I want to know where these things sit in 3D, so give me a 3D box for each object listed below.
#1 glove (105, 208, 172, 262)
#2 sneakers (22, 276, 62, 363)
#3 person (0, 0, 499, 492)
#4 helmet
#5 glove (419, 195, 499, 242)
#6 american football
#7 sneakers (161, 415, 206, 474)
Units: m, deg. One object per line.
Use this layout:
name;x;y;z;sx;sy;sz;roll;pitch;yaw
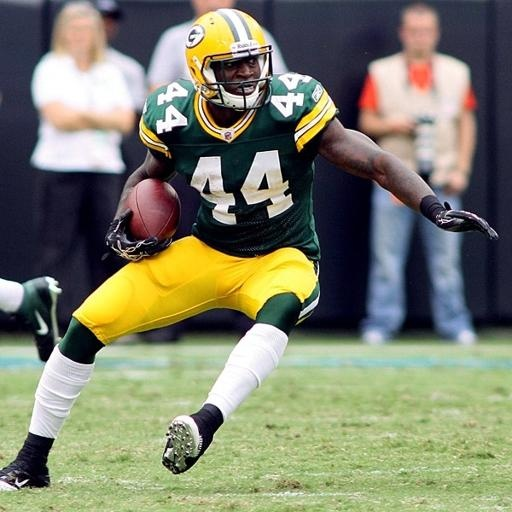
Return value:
glove;-0.408;-0.067;2.930;0.256;0.166;0.081;-19;-31;1
sneakers;-0.938;0.282;3.667;0.208;0.379;0.155;-2;-11;-42
person;-0.114;-0.045;2.759;1.444;1.615;0.746;0;3;9
helmet;-0.077;-0.693;2.827;0.322;0.279;0.383;-12;36;-20
glove;0.597;-0.108;2.489;0.256;0.082;0.071;32;8;37
american football;-0.367;-0.166;2.973;0.253;0.228;0.228;0;5;-30
sneakers;-0.215;0.557;2.476;0.110;0.177;0.089;32;16;14
